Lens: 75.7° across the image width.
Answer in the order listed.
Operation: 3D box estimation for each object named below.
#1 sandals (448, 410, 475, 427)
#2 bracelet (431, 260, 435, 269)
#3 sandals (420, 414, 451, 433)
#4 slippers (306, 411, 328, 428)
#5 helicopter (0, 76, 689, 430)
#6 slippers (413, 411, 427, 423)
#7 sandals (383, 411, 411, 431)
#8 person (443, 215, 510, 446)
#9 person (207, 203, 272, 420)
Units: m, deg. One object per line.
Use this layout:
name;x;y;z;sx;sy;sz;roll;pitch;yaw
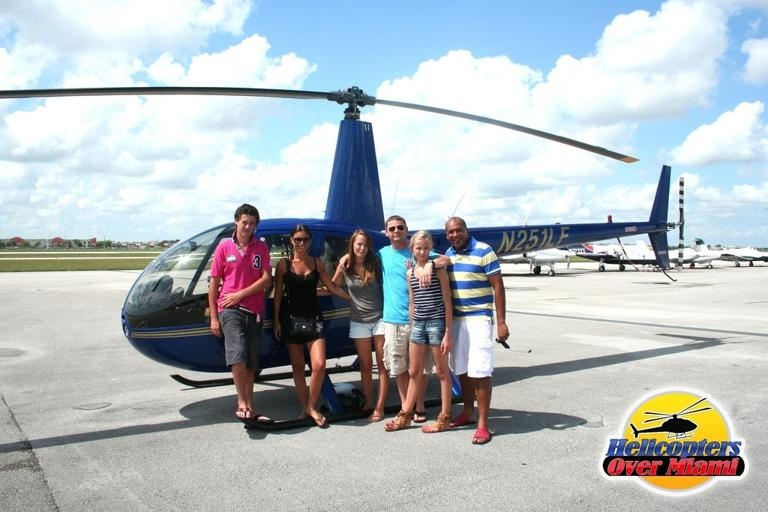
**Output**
sandals;0.871;1.848;5.567;0.280;0.102;0.130;4;-7;-13
bracelet;0.530;0.098;5.275;0.043;0.088;0.014;1;5;15
sandals;0.539;1.828;5.407;0.355;0.191;0.150;2;-4;2
slippers;-0.717;1.805;5.559;0.289;0.210;0.098;0;28;22
helicopter;0.108;-0.138;7.327;6.551;2.370;5.895;1;0;-12
slippers;0.403;1.838;5.647;0.139;0.089;0.351;0;-5;3
sandals;0.178;1.806;5.421;0.402;0.156;0.129;2;-5;-22
person;0.947;0.745;5.282;0.475;2.293;0.665;-3;6;-30
person;-1.554;0.609;5.363;0.655;2.306;0.406;-2;5;-14
